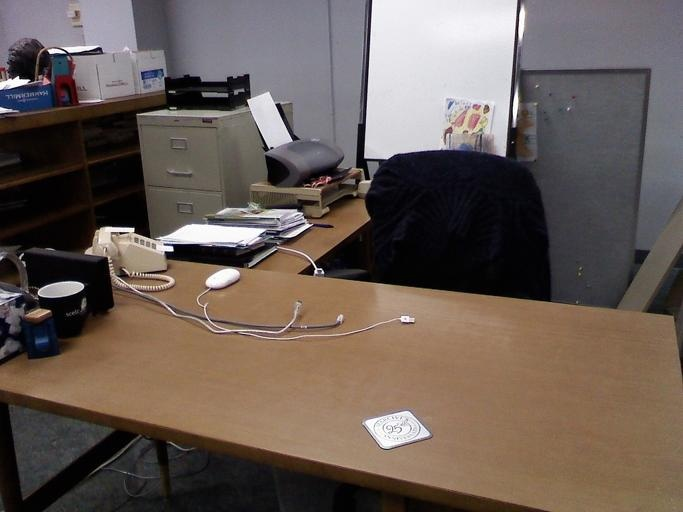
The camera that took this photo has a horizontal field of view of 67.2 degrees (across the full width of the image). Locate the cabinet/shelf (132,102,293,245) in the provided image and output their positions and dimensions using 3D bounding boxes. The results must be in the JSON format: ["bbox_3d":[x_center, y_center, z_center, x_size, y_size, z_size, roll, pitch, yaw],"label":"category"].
[{"bbox_3d":[-0.709,-0.507,2.863,0.596,1.010,0.760,11,17,41],"label":"cabinet/shelf"}]

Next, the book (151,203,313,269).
[{"bbox_3d":[-0.426,-0.082,1.957,0.338,0.082,0.319,6,26,21],"label":"book"}]

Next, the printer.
[{"bbox_3d":[-0.165,-0.451,2.418,0.198,0.177,0.408,11,23,28],"label":"printer"}]

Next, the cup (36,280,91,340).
[{"bbox_3d":[-0.744,0.148,1.374,0.109,0.122,0.109,2,20,-1],"label":"cup"}]

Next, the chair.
[{"bbox_3d":[0.389,-0.166,2.013,0.503,0.734,0.585,1,12,13],"label":"chair"}]

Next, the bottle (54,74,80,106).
[{"bbox_3d":[-1.601,-0.961,2.963,0.037,0.167,0.138,13,24,32],"label":"bottle"}]

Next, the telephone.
[{"bbox_3d":[-0.709,-0.008,1.745,0.247,0.149,0.285,-5,3,-25],"label":"telephone"}]

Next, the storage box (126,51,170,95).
[{"bbox_3d":[-1.374,-1.303,3.595,0.144,0.255,0.269,14,29,19],"label":"storage box"}]
